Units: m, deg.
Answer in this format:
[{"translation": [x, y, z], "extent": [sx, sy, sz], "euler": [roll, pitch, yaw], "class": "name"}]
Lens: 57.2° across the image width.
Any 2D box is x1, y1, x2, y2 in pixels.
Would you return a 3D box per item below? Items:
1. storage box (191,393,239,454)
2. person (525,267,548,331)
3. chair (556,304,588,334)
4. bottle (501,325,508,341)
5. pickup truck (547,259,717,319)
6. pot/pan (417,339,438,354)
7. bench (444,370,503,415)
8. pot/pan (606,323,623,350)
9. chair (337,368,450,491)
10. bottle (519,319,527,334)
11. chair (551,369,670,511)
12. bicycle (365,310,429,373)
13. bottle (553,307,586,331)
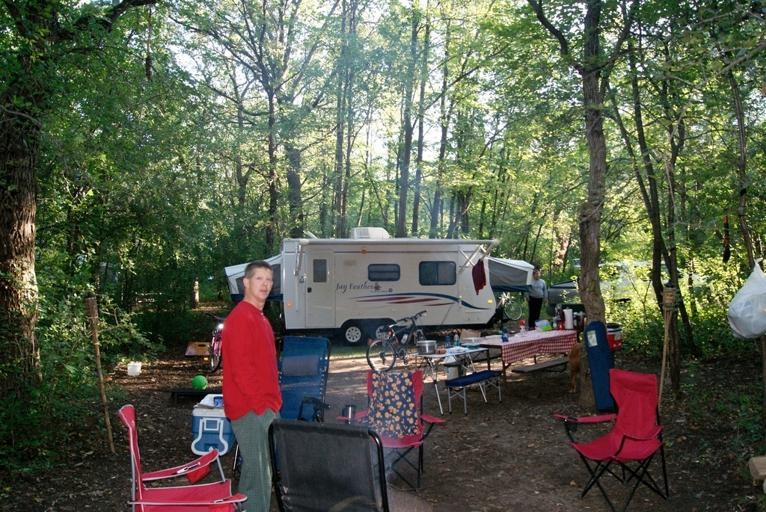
[{"translation": [-2.437, 2.409, 10.311], "extent": [0.669, 0.655, 1.049], "euler": [1, 2, -5], "class": "storage box"}, {"translation": [4.094, 1.079, 18.666], "extent": [0.474, 1.546, 1.173], "euler": [0, -5, 12], "class": "person"}, {"translation": [3.671, 1.229, 13.665], "extent": [0.346, 0.591, 0.644], "euler": [1, -6, -7], "class": "chair"}, {"translation": [2.167, 1.380, 12.452], "extent": [0.117, 0.255, 0.489], "euler": [0, -6, 10], "class": "bottle"}, {"translation": [5.600, 0.802, 16.614], "extent": [1.989, 1.245, 5.951], "euler": [1, -6, -3], "class": "pickup truck"}, {"translation": [0.753, 1.544, 11.898], "extent": [0.243, 0.149, 0.241], "euler": [-1, -1, -21], "class": "pot/pan"}, {"translation": [1.553, 2.209, 11.883], "extent": [0.414, 0.431, 1.201], "euler": [-26, -26, 36], "class": "bench"}, {"translation": [4.185, 1.458, 12.795], "extent": [0.189, 0.452, 0.404], "euler": [-2, -6, 32], "class": "pot/pan"}, {"translation": [0.081, 2.287, 9.146], "extent": [1.534, 1.511, 1.185], "euler": [1, -5, 4], "class": "chair"}, {"translation": [2.664, 1.331, 13.386], "extent": [0.191, 0.320, 0.184], "euler": [-2, 0, 0], "class": "bottle"}, {"translation": [3.149, 2.374, 9.239], "extent": [1.378, 1.741, 1.028], "euler": [5, -6, -39], "class": "chair"}, {"translation": [0.258, 1.878, 15.420], "extent": [1.579, 0.950, 0.787], "euler": [-25, 7, -30], "class": "bicycle"}, {"translation": [3.594, 1.210, 13.541], "extent": [0.568, 0.413, 0.410], "euler": [0, 0, 18], "class": "bottle"}]
